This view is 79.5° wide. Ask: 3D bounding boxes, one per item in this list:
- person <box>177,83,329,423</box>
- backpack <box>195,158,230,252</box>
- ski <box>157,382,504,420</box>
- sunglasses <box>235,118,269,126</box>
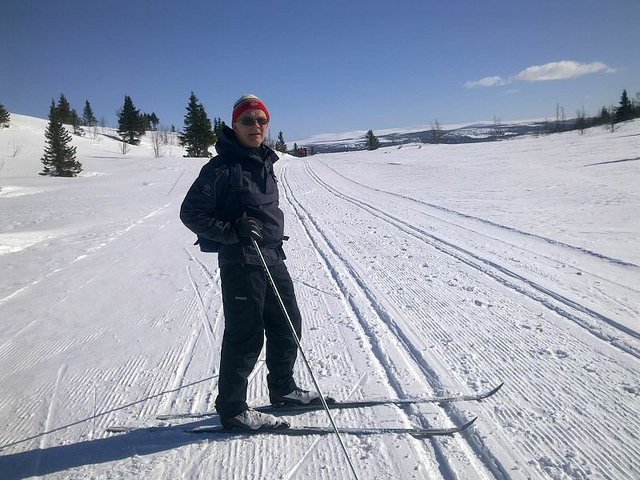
[{"bbox_3d":[-0.617,0.178,3.380,0.947,2.787,0.783,-7,16,-19],"label":"person"},{"bbox_3d":[-0.982,-0.387,3.306,0.323,0.470,0.244,14,-18,-34],"label":"backpack"},{"bbox_3d":[0.171,1.474,3.508,3.556,0.179,0.232,-3,32,-3],"label":"ski"},{"bbox_3d":[-0.609,-1.047,3.401,0.285,0.062,0.104,-4,16,-7],"label":"sunglasses"}]
